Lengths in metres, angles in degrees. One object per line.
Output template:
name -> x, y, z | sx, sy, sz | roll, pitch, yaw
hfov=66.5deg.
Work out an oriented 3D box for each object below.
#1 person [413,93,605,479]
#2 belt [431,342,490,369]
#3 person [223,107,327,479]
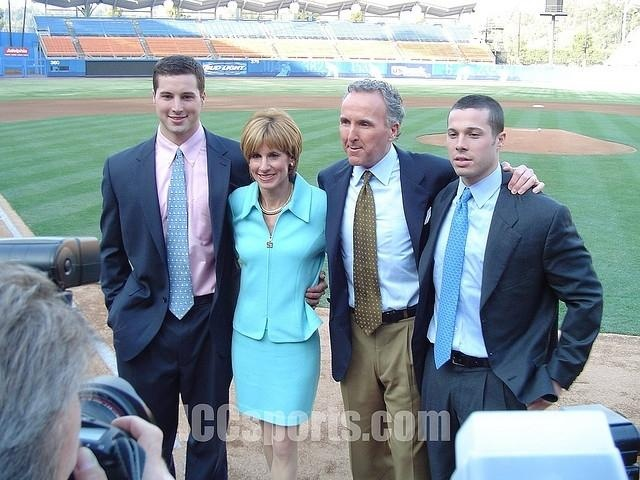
person -> 0.872, 0.351, 2.435 | 0.897, 2.029, 0.633 | 12, 23, 35
belt -> 0.714, 0.574, 2.428 | 0.181, 0.056, 0.153 | 3, -3, 17
person -> -0.232, 0.406, 2.796 | 0.567, 2.186, 0.755 | -1, 19, 1
